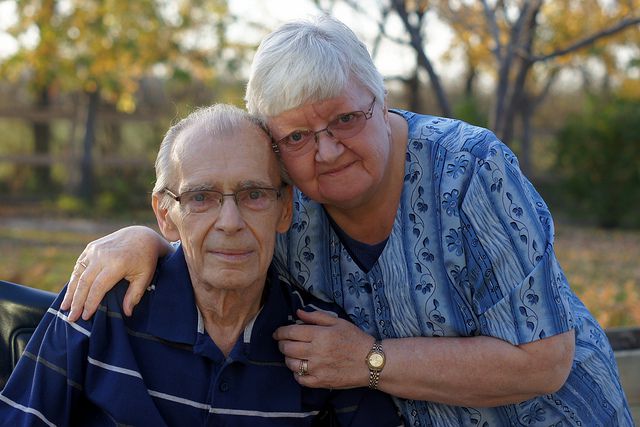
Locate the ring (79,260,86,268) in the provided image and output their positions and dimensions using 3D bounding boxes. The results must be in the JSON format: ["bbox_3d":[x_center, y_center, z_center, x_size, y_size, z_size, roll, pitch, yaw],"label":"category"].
[{"bbox_3d":[-1.949,0.416,8.113,0.047,0.013,0.049,30,35,-24],"label":"ring"}]
